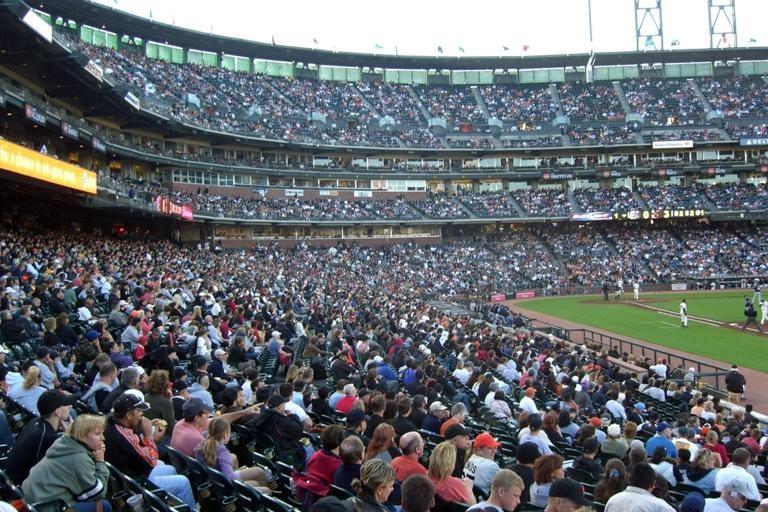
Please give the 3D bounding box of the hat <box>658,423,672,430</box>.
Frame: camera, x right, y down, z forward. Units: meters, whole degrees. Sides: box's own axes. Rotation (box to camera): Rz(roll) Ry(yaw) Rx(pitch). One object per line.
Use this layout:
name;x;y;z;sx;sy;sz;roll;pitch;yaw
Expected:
hat;11.136;6.760;34.007;0.384;0.353;0.701;1;-8;27

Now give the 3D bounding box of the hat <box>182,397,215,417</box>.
hat;-6.733;5.498;31.466;1.023;0.384;0.632;1;3;-34

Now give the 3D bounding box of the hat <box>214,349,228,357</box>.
hat;-6.821;4.013;35.703;0.394;0.321;0.644;7;-8;-14
